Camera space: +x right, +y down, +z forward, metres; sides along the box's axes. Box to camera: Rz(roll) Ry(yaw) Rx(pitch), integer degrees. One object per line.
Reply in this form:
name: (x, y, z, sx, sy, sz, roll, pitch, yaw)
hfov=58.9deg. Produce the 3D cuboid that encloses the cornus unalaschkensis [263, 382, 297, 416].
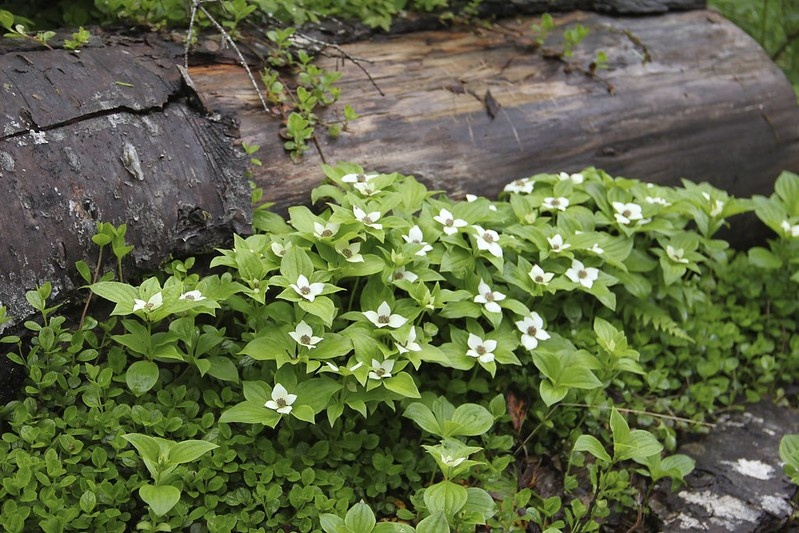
cornus unalaschkensis: (-0.789, 0.873, 4.661, 0.191, 0.183, 0.138, -9, 22, 15)

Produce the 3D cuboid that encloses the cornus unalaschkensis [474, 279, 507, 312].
cornus unalaschkensis: (0.640, 0.214, 5.068, 0.175, 0.202, 0.211, -1, 25, 31)

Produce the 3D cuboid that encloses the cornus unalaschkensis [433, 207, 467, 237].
cornus unalaschkensis: (0.366, -0.321, 5.186, 0.148, 0.166, 0.220, -30, 26, -35)

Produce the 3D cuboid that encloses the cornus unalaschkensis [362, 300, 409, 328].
cornus unalaschkensis: (-0.102, 0.339, 4.833, 0.220, 0.146, 0.248, -25, 24, -24)

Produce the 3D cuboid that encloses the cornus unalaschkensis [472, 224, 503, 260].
cornus unalaschkensis: (0.634, -0.190, 5.135, 0.175, 0.234, 0.232, -10, 22, 11)

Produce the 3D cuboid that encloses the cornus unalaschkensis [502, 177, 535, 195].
cornus unalaschkensis: (0.981, -0.651, 5.858, 0.256, 0.128, 0.234, -10, 22, 13)

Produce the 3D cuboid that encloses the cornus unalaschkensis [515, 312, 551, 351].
cornus unalaschkensis: (0.936, 0.459, 5.066, 0.216, 0.229, 0.127, -26, 24, -27)

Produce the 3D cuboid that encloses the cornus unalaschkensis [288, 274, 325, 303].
cornus unalaschkensis: (-0.617, 0.146, 4.753, 0.195, 0.158, 0.146, -11, 21, 11)

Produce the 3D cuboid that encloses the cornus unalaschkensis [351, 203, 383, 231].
cornus unalaschkensis: (-0.230, -0.359, 5.098, 0.190, 0.170, 0.215, -14, 21, 1)

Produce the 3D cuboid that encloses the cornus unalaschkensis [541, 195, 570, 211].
cornus unalaschkensis: (1.216, -0.486, 5.542, 0.216, 0.113, 0.151, -10, 22, 13)
